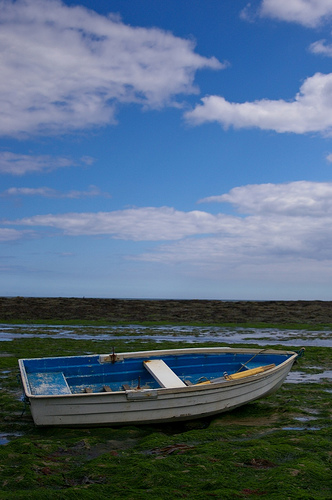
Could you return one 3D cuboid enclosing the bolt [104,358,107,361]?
[{"bbox_3d":[-1.557,2.831,12.003,0.079,0.047,0.064,-4,23,-7],"label":"bolt"}]

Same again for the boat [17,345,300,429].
[{"bbox_3d":[-0.103,3.425,11.307,6.423,1.195,2.938,-2,1,-19],"label":"boat"}]
